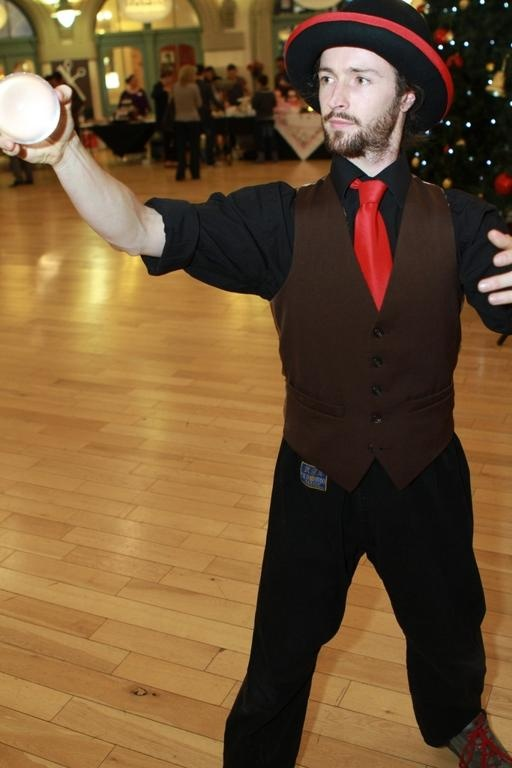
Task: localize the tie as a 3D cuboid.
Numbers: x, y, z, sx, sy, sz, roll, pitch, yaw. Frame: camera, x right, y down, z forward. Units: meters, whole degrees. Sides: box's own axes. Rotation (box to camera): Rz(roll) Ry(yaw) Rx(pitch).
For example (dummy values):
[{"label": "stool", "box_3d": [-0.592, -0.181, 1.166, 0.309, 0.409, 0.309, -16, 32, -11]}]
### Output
[{"label": "tie", "box_3d": [0.165, -0.204, 0.948, 0.061, 0.168, 0.106, 1, 25, 7]}]
